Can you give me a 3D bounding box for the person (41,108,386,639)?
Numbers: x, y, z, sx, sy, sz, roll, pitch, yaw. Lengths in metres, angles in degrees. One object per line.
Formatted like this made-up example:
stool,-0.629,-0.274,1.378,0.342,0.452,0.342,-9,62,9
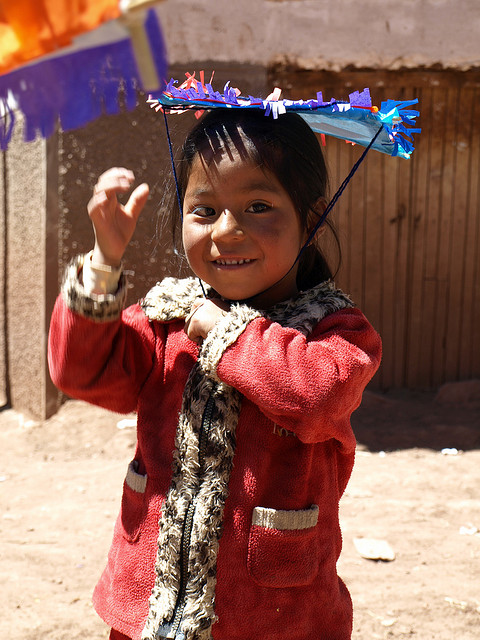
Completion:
person,-0.054,0.122,1.711,0.675,1.125,0.545,-2,12,-13
